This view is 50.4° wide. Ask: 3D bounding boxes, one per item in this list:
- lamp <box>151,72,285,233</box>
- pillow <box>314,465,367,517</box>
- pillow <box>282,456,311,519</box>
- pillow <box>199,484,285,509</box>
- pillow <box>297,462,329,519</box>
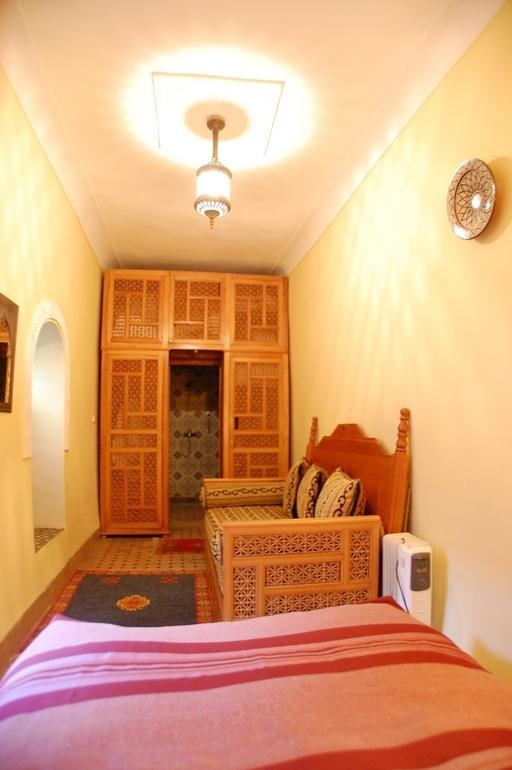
[{"bbox_3d":[-0.215,-1.131,2.823,0.611,0.587,0.647,3,-8,-10],"label":"lamp"},{"bbox_3d":[0.469,0.591,2.971,0.104,0.242,0.309,13,-2,-5],"label":"pillow"},{"bbox_3d":[0.293,0.740,3.857,0.121,0.272,0.367,5,-7,4],"label":"pillow"},{"bbox_3d":[-0.113,0.905,4.377,0.537,0.177,0.161,0,-42,-7],"label":"pillow"},{"bbox_3d":[0.359,0.672,3.395,0.115,0.250,0.347,7,3,4],"label":"pillow"}]
